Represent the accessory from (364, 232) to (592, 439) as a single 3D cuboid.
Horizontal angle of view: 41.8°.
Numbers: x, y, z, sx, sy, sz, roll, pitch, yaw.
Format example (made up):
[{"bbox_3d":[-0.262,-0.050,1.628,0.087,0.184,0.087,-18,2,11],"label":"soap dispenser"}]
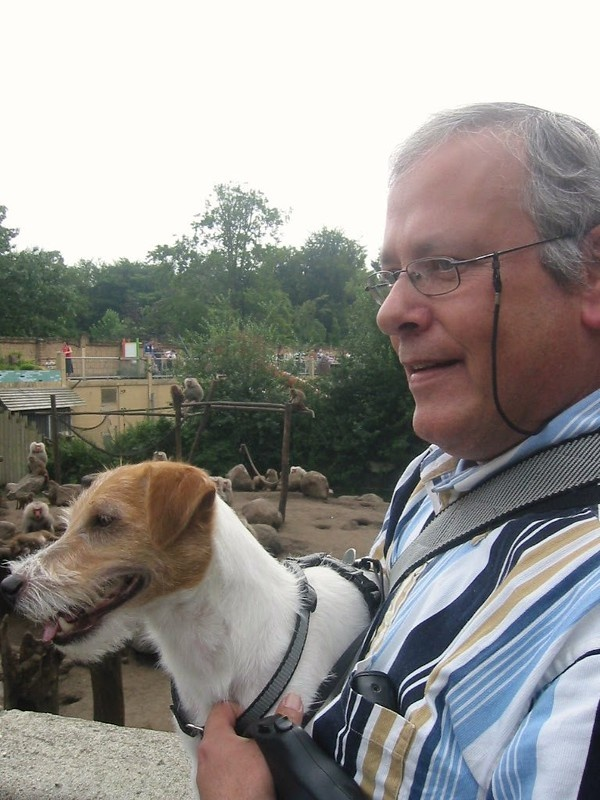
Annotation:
[{"bbox_3d":[0.416,-0.166,1.770,0.453,0.390,0.143,-4,8,43],"label":"accessory"}]
